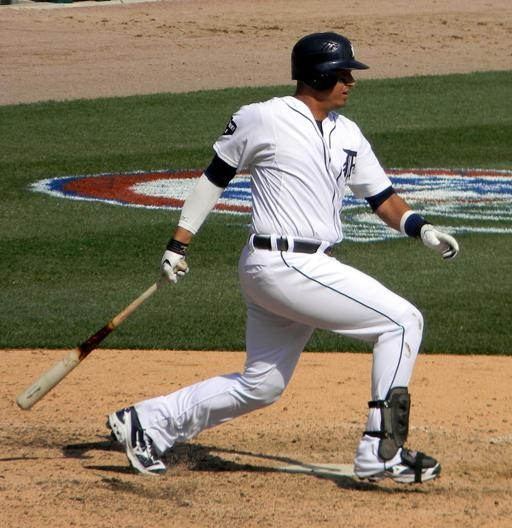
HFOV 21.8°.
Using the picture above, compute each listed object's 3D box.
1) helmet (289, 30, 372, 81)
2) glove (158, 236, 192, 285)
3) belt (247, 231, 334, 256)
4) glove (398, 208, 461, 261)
[{"bbox_3d":[0.556,-1.682,10.893,0.502,0.311,0.385,-2,6,10],"label":"helmet"},{"bbox_3d":[-0.665,-0.034,10.882,0.138,0.252,0.333,16,36,2],"label":"glove"},{"bbox_3d":[0.277,-0.158,10.700,0.655,0.131,0.169,4,14,-1],"label":"belt"},{"bbox_3d":[1.433,-0.244,11.019,0.357,0.457,0.445,2,31,16],"label":"glove"}]
